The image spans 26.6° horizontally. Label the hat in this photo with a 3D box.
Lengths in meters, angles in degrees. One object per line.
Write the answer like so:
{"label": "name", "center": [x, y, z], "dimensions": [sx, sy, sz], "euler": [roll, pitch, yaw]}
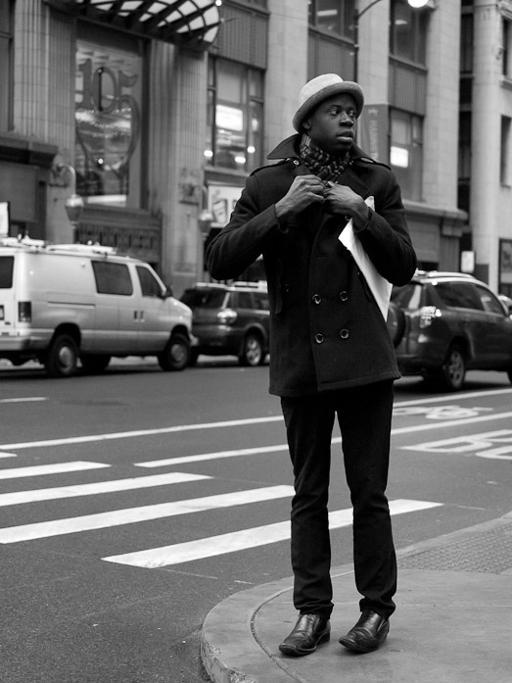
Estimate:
{"label": "hat", "center": [0.234, -0.792, 3.515], "dimensions": [0.221, 0.194, 0.260], "euler": [4, 0, 1]}

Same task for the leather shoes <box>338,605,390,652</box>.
{"label": "leather shoes", "center": [0.355, 0.914, 3.424], "dimensions": [0.105, 0.121, 0.241], "euler": [4, -1, 39]}

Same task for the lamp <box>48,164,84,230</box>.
{"label": "lamp", "center": [-4.324, -3.351, 24.523], "dimensions": [0.746, 1.557, 2.735], "euler": [3, 0, -12]}

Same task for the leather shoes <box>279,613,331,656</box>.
{"label": "leather shoes", "center": [0.163, 0.913, 3.403], "dimensions": [0.066, 0.120, 0.231], "euler": [-7, -5, 33]}

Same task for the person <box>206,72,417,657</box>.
{"label": "person", "center": [0.185, 0.050, 3.481], "dimensions": [0.625, 1.805, 0.477], "euler": [3, 0, 9]}

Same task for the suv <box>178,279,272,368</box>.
{"label": "suv", "center": [-0.396, -0.365, 22.182], "dimensions": [1.096, 1.445, 2.205], "euler": [0, 5, 30]}
